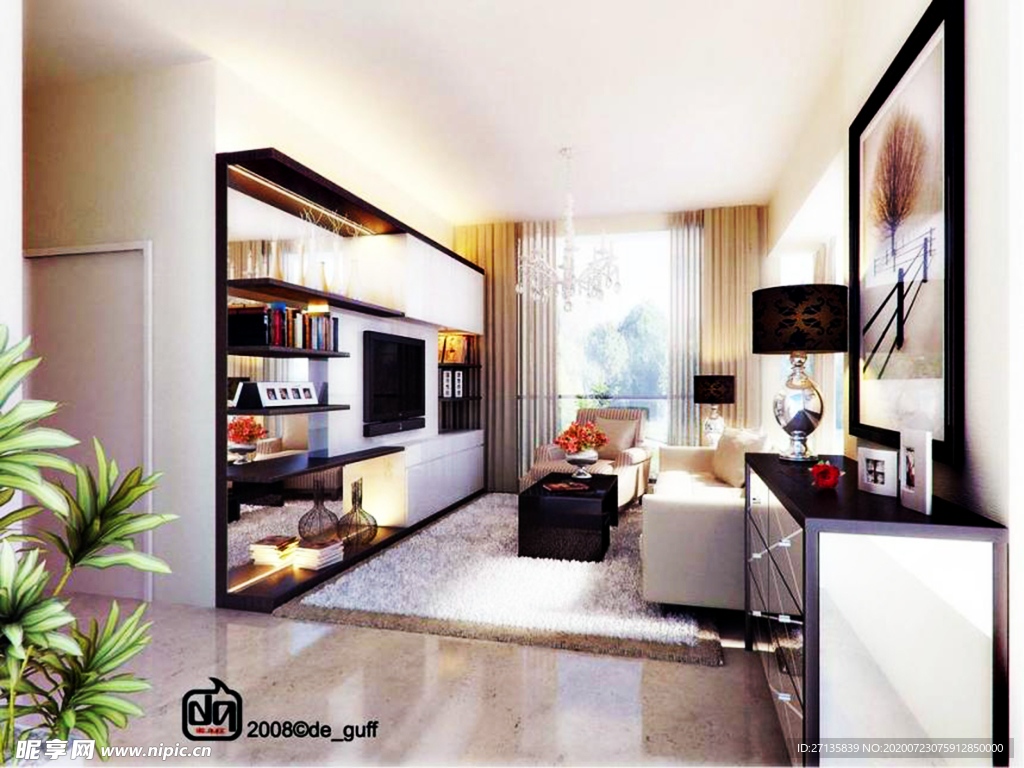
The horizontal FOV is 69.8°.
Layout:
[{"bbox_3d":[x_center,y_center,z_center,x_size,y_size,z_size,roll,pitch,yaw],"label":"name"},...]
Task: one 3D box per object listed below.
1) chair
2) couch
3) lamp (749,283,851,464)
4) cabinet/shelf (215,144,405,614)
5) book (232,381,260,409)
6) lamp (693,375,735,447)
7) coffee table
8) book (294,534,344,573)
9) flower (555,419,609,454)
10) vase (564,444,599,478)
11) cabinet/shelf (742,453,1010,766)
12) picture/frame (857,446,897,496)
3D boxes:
[{"bbox_3d":[0.749,0.655,6.619,1.047,0.999,1.072,6,-7,-31],"label":"chair"},{"bbox_3d":[1.262,0.775,4.801,0.596,0.753,1.772,-3,4,11],"label":"couch"},{"bbox_3d":[1.401,-0.051,3.603,0.439,0.867,0.288,5,11,27],"label":"lamp"},{"bbox_3d":[-1.374,-0.081,4.647,0.586,2.653,1.367,2,10,14],"label":"cabinet/shelf"},{"bbox_3d":[-1.586,0.079,4.415,0.126,0.170,0.163,-4,-3,14],"label":"book"},{"bbox_3d":[1.889,0.252,6.857,0.376,0.672,0.362,1,1,-31],"label":"lamp"},{"bbox_3d":[0.387,0.914,5.107,0.423,0.355,0.679,0,2,13],"label":"coffee table"},{"bbox_3d":[-1.255,1.095,4.728,0.237,0.092,0.185,0,0,20],"label":"book"},{"bbox_3d":[0.534,0.426,5.662,0.305,0.239,0.318,5,-7,-22],"label":"flower"},{"bbox_3d":[0.552,0.606,5.670,0.229,0.227,0.246,1,-6,1],"label":"vase"},{"bbox_3d":[1.377,0.916,2.858,0.642,0.998,1.046,0,10,4],"label":"cabinet/shelf"},{"bbox_3d":[1.445,0.350,2.900,0.046,0.173,0.161,1,0,-27],"label":"picture/frame"}]
